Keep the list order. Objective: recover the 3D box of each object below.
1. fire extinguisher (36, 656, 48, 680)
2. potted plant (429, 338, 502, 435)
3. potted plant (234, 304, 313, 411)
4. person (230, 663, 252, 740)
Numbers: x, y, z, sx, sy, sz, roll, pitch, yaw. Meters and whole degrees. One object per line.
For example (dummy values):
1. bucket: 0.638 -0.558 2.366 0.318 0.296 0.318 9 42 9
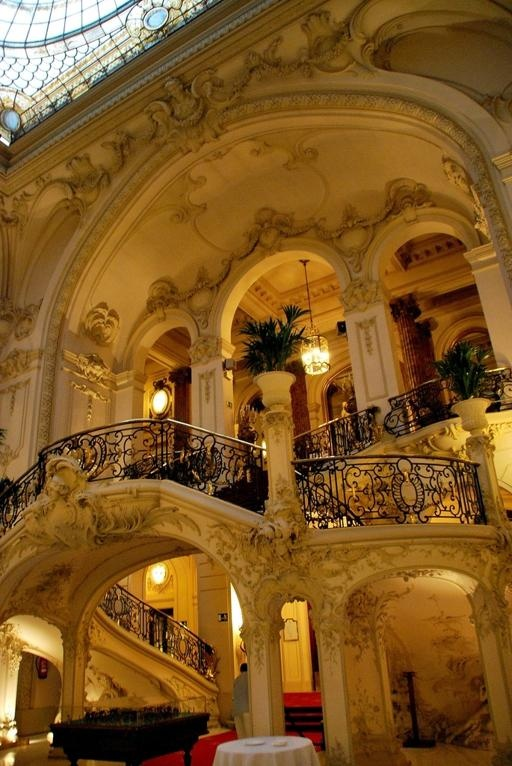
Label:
1. fire extinguisher: -4.596 6.132 12.528 0.224 0.428 0.625 2 -28 -12
2. potted plant: 2.522 0.049 6.837 0.543 1.067 0.674 2 -22 -21
3. potted plant: 0.231 -0.311 6.323 0.741 1.084 0.985 -9 -15 26
4. person: -0.156 3.176 5.776 0.223 0.723 0.227 12 -18 -29
